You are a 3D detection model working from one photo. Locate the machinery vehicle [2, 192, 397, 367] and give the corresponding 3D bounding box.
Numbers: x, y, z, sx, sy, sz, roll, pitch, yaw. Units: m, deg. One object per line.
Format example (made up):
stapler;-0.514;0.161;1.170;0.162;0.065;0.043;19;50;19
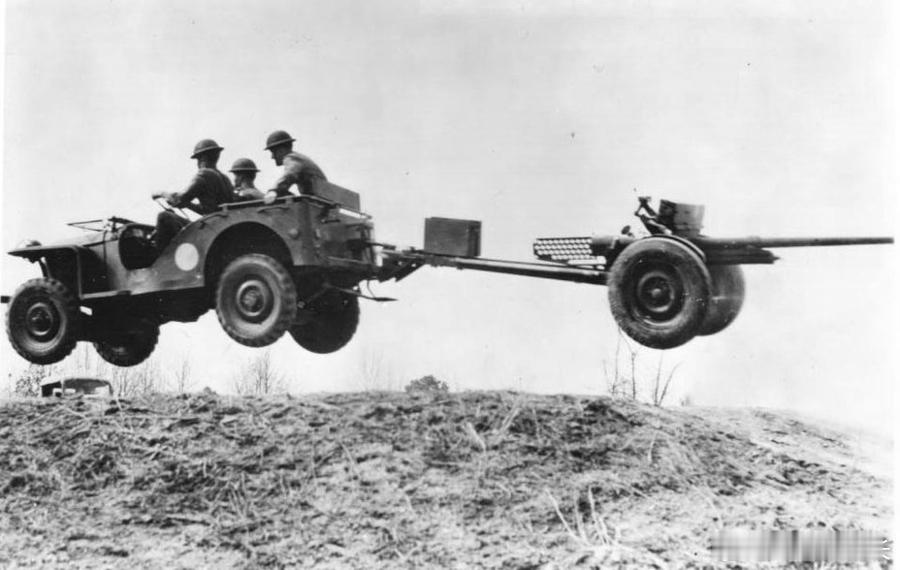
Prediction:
machinery vehicle;-3.079;-0.049;14.811;4.494;2.202;2.695;0;-3;13
